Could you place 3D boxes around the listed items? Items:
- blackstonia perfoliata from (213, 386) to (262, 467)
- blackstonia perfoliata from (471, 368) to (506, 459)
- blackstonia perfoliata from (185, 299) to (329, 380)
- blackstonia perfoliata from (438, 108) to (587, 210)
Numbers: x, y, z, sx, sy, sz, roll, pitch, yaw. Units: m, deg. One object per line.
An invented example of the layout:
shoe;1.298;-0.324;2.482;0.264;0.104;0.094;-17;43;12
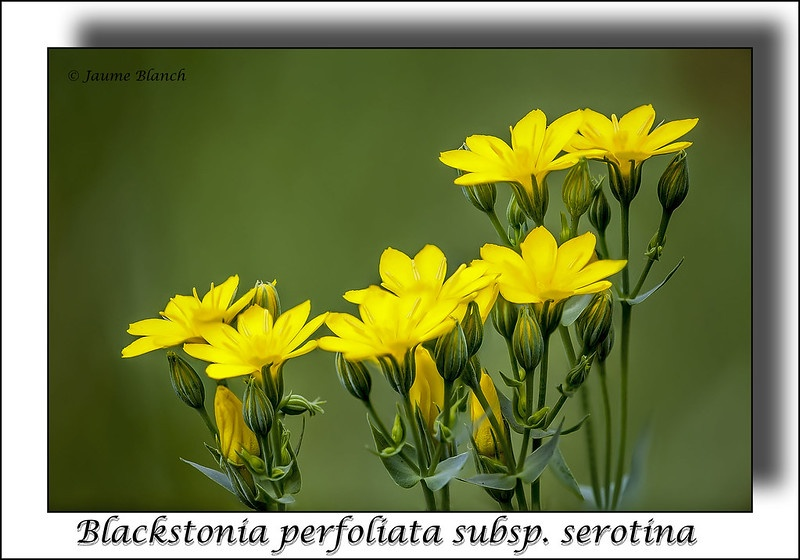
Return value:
blackstonia perfoliata;-0.240;0.210;1.157;0.059;0.113;0.047;-1;-3;24
blackstonia perfoliata;0.113;0.192;1.118;0.047;0.122;0.086;-1;-3;24
blackstonia perfoliata;-0.198;0.087;1.099;0.127;0.057;0.134;-23;24;-13
blackstonia perfoliata;0.171;-0.179;1.155;0.141;0.079;0.143;-17;9;43
